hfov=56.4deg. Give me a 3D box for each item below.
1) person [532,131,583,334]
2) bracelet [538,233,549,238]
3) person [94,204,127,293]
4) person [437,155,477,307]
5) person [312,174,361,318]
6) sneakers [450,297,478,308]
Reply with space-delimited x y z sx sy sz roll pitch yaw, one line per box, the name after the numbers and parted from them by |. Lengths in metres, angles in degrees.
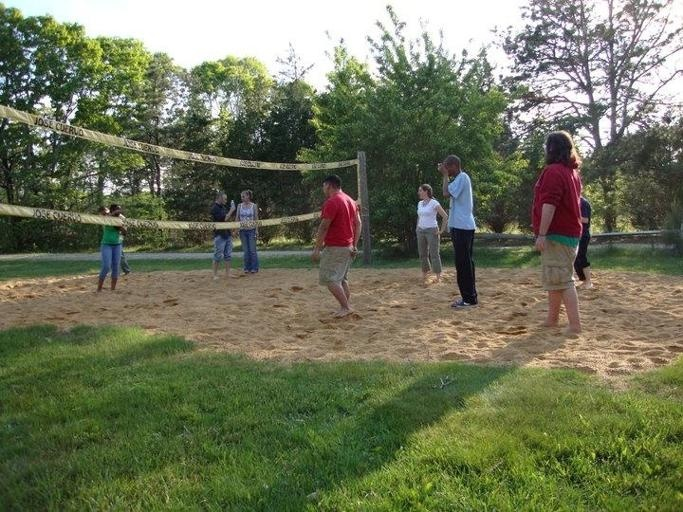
2.635 -0.289 7.703 0.621 2.409 0.617 1 11 11 | person
2.390 -0.246 7.499 0.139 0.048 0.050 -10 15 -40 | bracelet
-4.053 -0.120 11.107 0.502 1.631 2.066 -5 12 -20 | person
1.748 -0.385 9.485 0.598 2.192 0.978 1 11 8 | person
-0.059 -0.138 8.912 0.638 1.985 0.999 -1 11 0 | person
1.794 0.688 9.326 0.391 0.188 0.151 4 4 8 | sneakers
